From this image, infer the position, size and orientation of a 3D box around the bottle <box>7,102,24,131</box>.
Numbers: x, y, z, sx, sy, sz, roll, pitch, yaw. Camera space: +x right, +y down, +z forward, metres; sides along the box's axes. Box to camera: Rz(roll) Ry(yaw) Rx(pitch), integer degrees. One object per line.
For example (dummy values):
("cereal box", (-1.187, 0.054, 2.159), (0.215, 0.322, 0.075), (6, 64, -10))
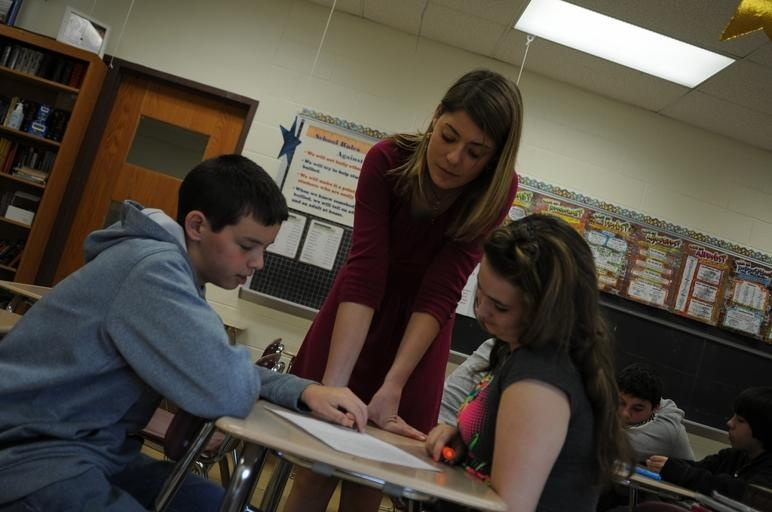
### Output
("bottle", (-2.954, -1.113, 4.166), (0.165, 0.231, 0.082), (16, 0, 40))

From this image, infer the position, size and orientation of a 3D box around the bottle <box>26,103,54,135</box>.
("bottle", (-2.752, -1.072, 4.148), (0.138, 0.270, 0.094), (16, 0, -14))

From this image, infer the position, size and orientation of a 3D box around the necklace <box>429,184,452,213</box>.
("necklace", (0.196, -0.208, 1.904), (0.068, 0.094, 0.069), (5, 5, -12))

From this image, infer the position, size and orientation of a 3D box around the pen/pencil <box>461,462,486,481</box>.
("pen/pencil", (0.267, 0.656, 1.588), (0.020, 0.015, 0.076), (-13, 1, -20))
